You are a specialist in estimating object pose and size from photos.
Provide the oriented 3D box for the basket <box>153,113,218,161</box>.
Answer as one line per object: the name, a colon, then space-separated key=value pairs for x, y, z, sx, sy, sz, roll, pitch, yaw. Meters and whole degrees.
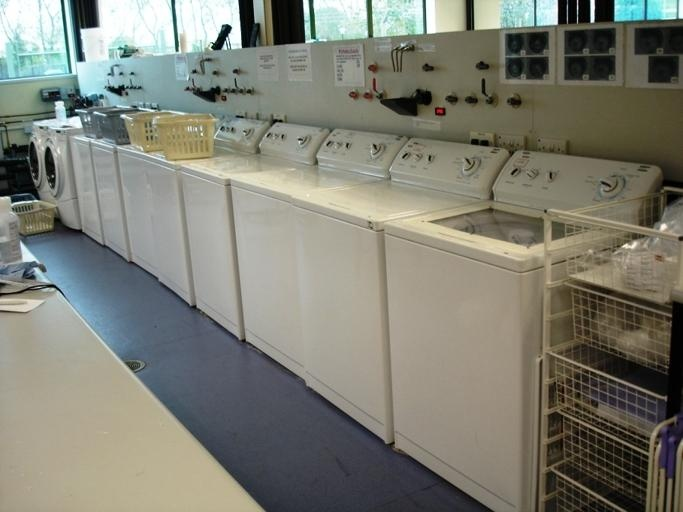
basket: x=-1.232 y=-0.955 z=4.208 sx=0.423 sy=0.317 sz=0.590 roll=-4 pitch=12 yaw=0

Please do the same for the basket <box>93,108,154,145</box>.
basket: x=-2.256 y=-1.268 z=5.084 sx=0.395 sy=0.261 sz=0.550 roll=-11 pitch=30 yaw=-30

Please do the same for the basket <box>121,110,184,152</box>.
basket: x=-1.768 y=-1.114 z=4.632 sx=0.451 sy=0.319 sz=0.631 roll=-8 pitch=27 yaw=-26

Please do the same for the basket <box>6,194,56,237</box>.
basket: x=-3.188 y=-0.408 z=5.264 sx=0.492 sy=0.306 sz=0.741 roll=-8 pitch=20 yaw=-37
